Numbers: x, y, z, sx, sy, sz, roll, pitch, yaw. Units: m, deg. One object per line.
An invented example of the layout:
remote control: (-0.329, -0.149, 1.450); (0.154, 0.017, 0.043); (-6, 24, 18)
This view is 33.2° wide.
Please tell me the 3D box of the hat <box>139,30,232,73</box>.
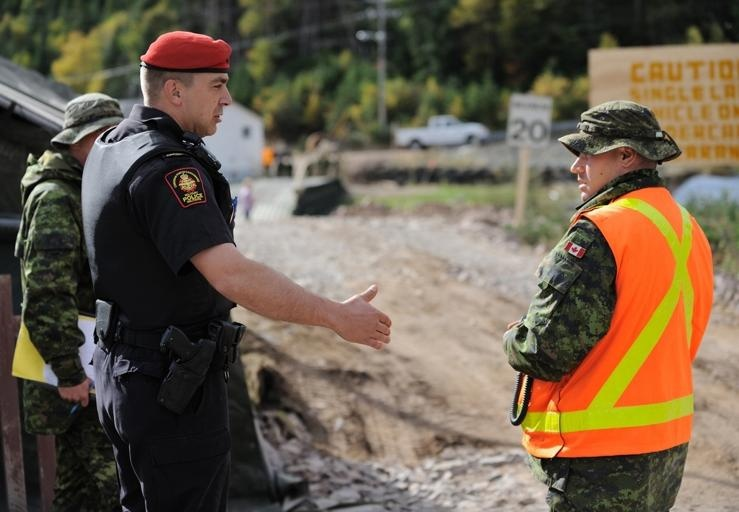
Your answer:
hat: (-1.279, -1.440, 8.703); (0.631, 0.231, 0.565); (-1, 16, -21)

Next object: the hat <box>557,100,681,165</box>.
hat: (1.807, -0.865, 8.662); (0.586, 0.272, 0.520); (-1, 12, 2)
